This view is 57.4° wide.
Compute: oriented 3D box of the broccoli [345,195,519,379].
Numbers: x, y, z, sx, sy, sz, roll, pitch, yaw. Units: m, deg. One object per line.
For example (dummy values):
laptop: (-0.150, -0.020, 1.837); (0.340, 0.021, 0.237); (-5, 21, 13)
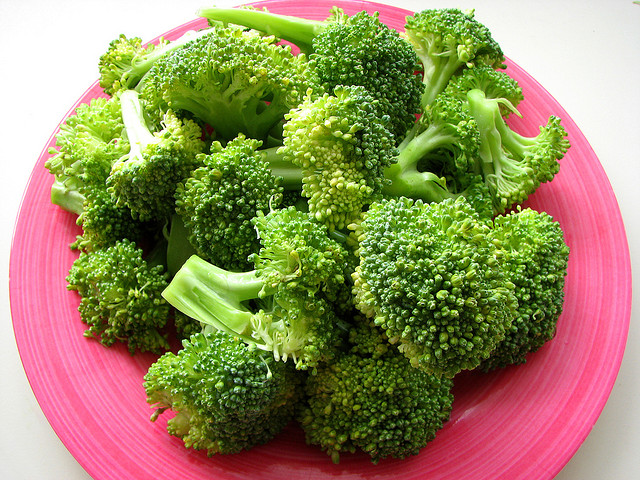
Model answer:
broccoli: (0.229, 0.140, 1.495); (0.335, 0.205, 0.450); (-16, 61, -29)

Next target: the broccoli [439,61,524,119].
broccoli: (0.504, -0.480, 1.778); (0.184, 0.092, 0.197); (23, 23, -12)

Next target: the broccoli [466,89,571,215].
broccoli: (0.616, -0.271, 1.855); (0.356, 0.331, 0.162); (41, 20, 15)

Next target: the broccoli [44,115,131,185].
broccoli: (-0.687, -0.255, 1.746); (0.224, 0.123, 0.222); (-29, 5, 21)

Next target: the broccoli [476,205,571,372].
broccoli: (0.553, 0.027, 1.662); (0.223, 0.161, 0.330); (4, 31, 38)

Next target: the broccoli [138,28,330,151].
broccoli: (-0.306, -0.414, 1.693); (0.304, 0.239, 0.274); (-34, 40, -28)

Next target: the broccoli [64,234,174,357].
broccoli: (-0.553, 0.157, 1.744); (0.278, 0.349, 0.286); (-22, 5, -24)

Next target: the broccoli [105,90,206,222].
broccoli: (-0.494, -0.225, 1.752); (0.246, 0.209, 0.323); (-32, 52, -14)

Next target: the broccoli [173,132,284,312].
broccoli: (-0.283, 0.023, 1.567); (0.204, 0.147, 0.292); (43, 43, -20)

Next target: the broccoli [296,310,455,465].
broccoli: (0.114, 0.491, 1.626); (0.374, 0.195, 0.411); (-18, 65, -32)
